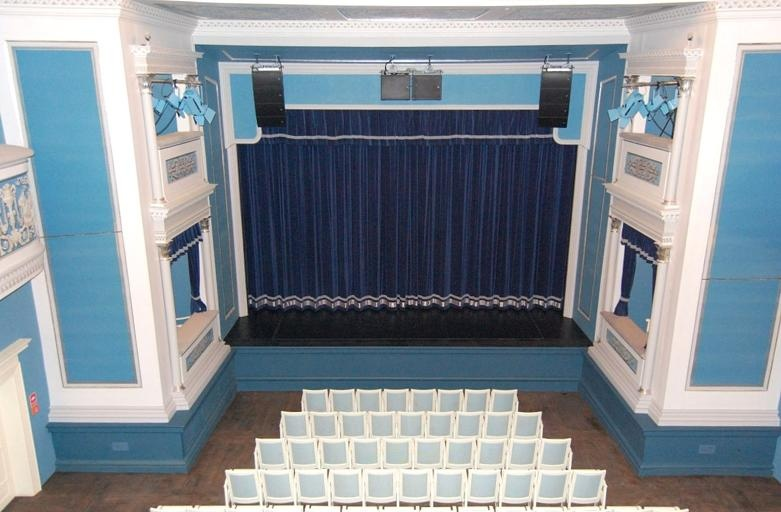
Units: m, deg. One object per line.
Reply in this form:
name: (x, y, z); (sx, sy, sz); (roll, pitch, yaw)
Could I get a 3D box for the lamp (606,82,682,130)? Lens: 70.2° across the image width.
lamp: (3.889, -2.261, 8.429); (1.292, 0.659, 0.520); (3, 7, 2)

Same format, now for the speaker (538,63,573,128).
speaker: (2.850, -2.760, 9.663); (0.489, 1.020, 0.250); (4, 24, 10)

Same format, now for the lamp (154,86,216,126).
lamp: (-3.086, -2.234, 8.321); (0.964, 0.360, 0.773); (11, 16, 37)
